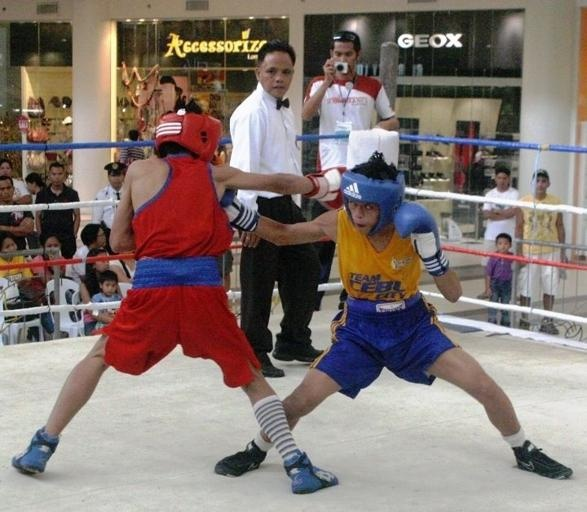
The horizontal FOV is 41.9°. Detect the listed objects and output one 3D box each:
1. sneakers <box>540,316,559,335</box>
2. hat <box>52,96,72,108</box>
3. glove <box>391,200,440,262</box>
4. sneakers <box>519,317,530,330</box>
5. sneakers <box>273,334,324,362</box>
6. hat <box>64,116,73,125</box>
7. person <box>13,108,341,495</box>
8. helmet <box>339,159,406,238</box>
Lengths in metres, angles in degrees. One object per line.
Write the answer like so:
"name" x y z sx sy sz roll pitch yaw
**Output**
"sneakers" 2.290 0.643 6.878 0.140 0.136 0.367 0 -4 0
"hat" -4.160 -2.714 13.521 0.394 0.220 0.073 5 11 21
"glove" 0.412 -0.085 2.543 0.155 0.181 0.167 3 10 11
"sneakers" 2.009 0.593 6.659 0.089 0.113 0.134 0 0 -4
"sneakers" 0.006 0.502 4.118 0.410 0.156 0.120 0 4 -5
"hat" -4.052 -2.405 13.568 0.196 0.144 0.042 -5 6 7
"person" -0.378 0.130 2.697 1.118 1.265 0.524 2 11 3
"helmet" 0.265 -0.206 2.637 0.213 0.216 0.270 2 6 42
